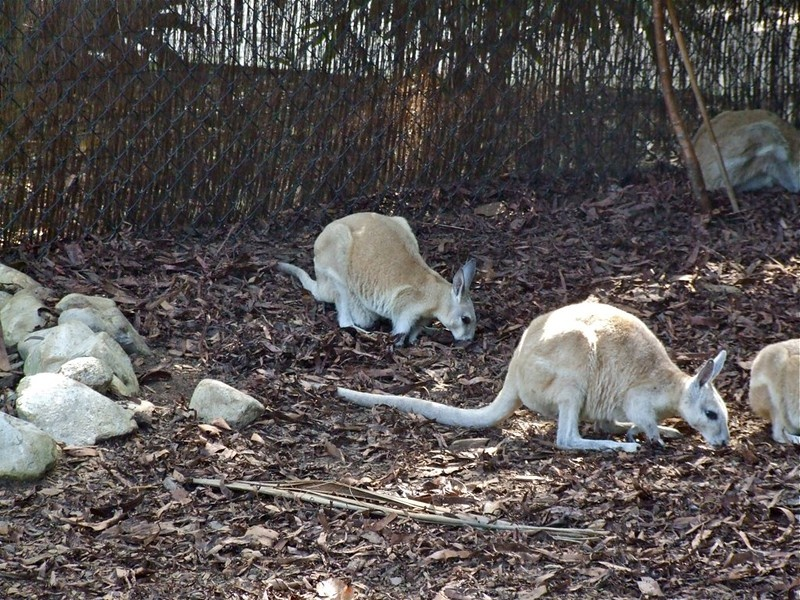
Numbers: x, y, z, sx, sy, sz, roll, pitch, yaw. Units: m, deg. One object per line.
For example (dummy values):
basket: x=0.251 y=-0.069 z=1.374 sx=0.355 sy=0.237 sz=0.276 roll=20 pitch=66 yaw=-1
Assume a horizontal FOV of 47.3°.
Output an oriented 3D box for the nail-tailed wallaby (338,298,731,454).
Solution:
nail-tailed wallaby: x=0.873 y=0.424 z=6.095 sx=2.520 sy=1.017 sz=0.789 roll=7 pitch=21 yaw=16
